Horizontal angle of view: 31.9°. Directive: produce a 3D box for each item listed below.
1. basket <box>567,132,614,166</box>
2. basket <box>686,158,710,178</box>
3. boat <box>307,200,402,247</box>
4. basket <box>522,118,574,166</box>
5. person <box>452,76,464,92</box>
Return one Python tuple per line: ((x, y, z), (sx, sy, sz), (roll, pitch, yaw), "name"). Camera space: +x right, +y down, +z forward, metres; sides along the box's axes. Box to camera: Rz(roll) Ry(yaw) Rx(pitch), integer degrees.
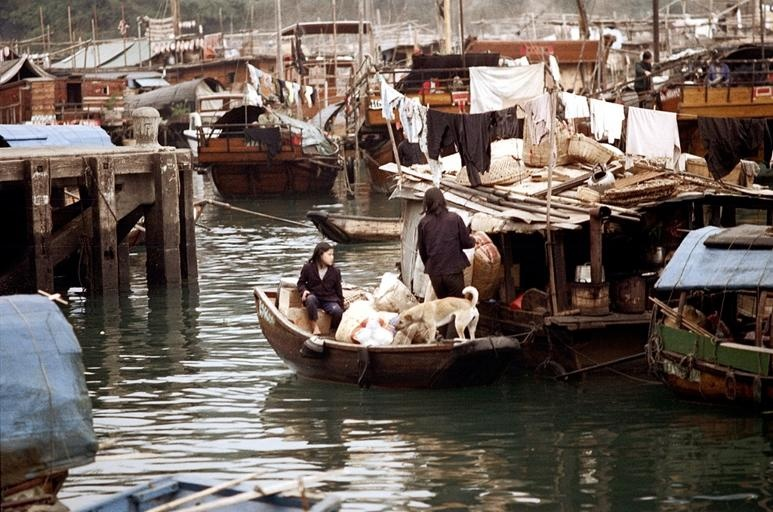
((4.353, -2.292, 29.230), (0.858, 0.626, 0.316), (21, 39, 22), "basket")
((6.968, -1.979, 30.401), (0.523, 0.426, 0.526), (3, 5, 23), "basket")
((-0.962, -0.889, 39.378), (3.270, 0.986, 1.078), (4, -7, -13), "boat")
((3.543, -2.403, 29.616), (1.126, 1.118, 0.790), (-3, 12, -5), "basket")
((2.510, -6.075, 48.176), (0.533, 0.719, 0.266), (4, -15, 7), "person")
